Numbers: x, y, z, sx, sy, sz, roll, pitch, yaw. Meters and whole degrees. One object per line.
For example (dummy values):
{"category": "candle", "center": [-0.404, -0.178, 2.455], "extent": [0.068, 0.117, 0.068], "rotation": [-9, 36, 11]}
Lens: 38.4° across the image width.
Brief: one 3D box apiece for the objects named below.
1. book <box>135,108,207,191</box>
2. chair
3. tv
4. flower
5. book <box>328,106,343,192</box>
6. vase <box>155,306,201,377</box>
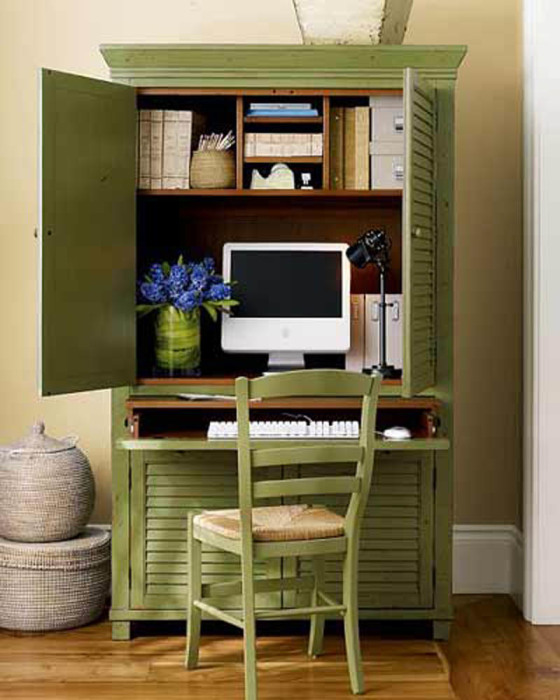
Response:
{"category": "book", "center": [-0.357, -0.651, 2.730], "extent": [0.223, 0.297, 0.299], "rotation": [0, 0, 1]}
{"category": "chair", "center": [0.019, 0.480, 2.213], "extent": [0.548, 0.885, 0.585], "rotation": [0, 3, -7]}
{"category": "tv", "center": [0.029, -0.147, 2.657], "extent": [0.450, 0.450, 0.160], "rotation": [-1, -7, 1]}
{"category": "flower", "center": [-0.289, -0.169, 2.581], "extent": [0.255, 0.162, 0.243], "rotation": [-1, -1, 37]}
{"category": "book", "center": [0.191, -0.658, 2.614], "extent": [0.050, 0.201, 0.209], "rotation": [-5, 5, 4]}
{"category": "vase", "center": [-0.333, -0.038, 2.628], "extent": [0.149, 0.236, 0.149], "rotation": [2, 6, 18]}
